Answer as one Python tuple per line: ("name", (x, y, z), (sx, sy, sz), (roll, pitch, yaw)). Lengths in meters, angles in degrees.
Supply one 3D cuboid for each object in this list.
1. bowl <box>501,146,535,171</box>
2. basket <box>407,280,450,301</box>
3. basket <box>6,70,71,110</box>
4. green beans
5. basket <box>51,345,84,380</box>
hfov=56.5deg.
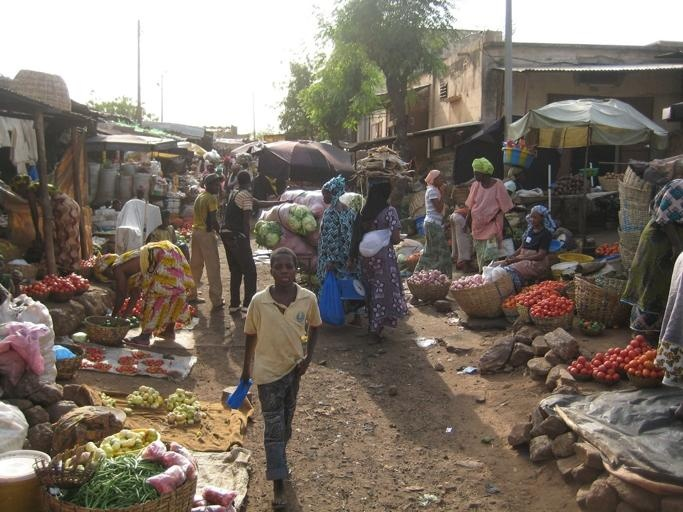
("bowl", (3.493, -1.941, 12.591), (0.475, 0.259, 0.432), (6, 9, -1))
("basket", (1.485, 0.614, 10.942), (0.450, 0.197, 0.447), (-4, 6, -44))
("basket", (-6.230, -3.473, 13.194), (1.110, 0.731, 0.575), (-3, 7, -35))
("green beans", (-1.732, 1.674, 4.975), (0.720, 0.251, 0.707), (-1, 7, -25))
("basket", (-2.987, 1.173, 7.004), (0.374, 0.261, 0.378), (1, -5, 3))
